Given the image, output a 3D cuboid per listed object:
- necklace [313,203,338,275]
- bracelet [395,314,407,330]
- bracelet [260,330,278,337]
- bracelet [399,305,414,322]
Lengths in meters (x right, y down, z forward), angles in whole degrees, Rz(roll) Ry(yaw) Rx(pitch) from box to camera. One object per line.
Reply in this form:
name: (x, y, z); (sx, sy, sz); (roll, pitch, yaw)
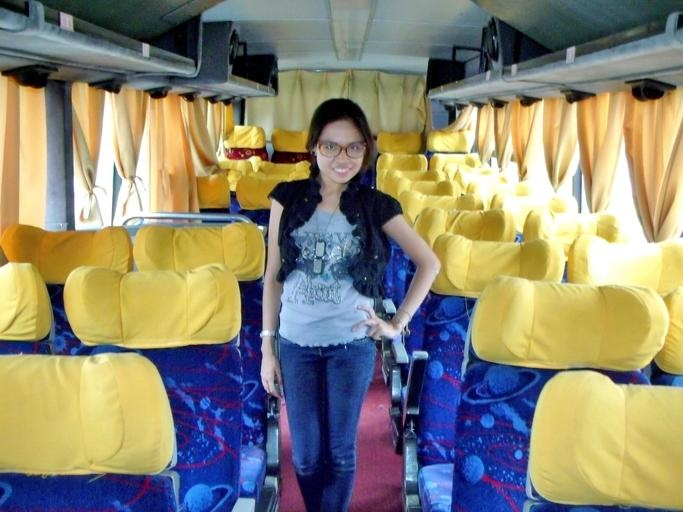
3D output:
necklace: (-0.066, -0.049, 2.090); (0.040, 0.208, 0.101); (7, 14, 23)
bracelet: (0.213, 0.241, 2.147); (0.032, 0.036, 0.056); (2, 29, 7)
bracelet: (-0.285, 0.293, 2.210); (0.046, 0.029, 0.047); (2, -7, -2)
bracelet: (0.236, 0.219, 2.162); (0.049, 0.042, 0.055); (2, -7, -8)
